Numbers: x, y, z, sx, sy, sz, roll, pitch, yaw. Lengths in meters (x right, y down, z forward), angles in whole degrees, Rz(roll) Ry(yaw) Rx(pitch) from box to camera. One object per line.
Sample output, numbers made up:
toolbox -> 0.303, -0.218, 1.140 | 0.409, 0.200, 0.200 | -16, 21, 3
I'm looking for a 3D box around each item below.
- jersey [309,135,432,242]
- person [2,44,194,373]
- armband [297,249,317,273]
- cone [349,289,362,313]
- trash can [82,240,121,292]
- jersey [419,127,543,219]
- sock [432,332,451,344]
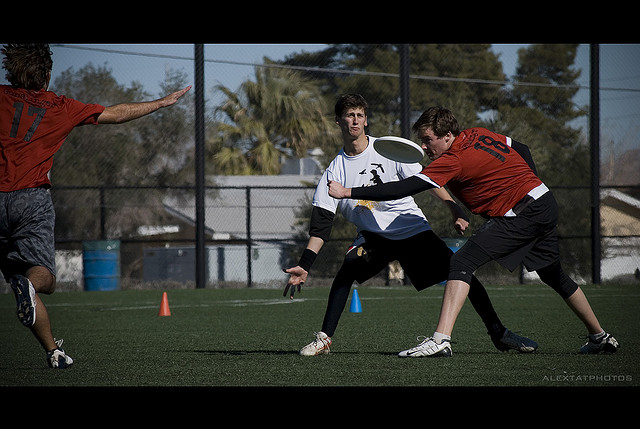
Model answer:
jersey -> 0.673, -0.193, 8.859 | 1.588, 1.107, 0.585 | -4, -3, -7
person -> -2.506, -0.063, 8.252 | 1.056, 3.111, 0.572 | -2, 2, -41
armband -> -0.138, 0.461, 8.644 | 0.184, 0.205, 0.297 | -1, 1, -1
cone -> 0.499, 1.275, 12.244 | 0.215, 0.323, 0.236 | 0, -2, 0
trash can -> -4.387, 1.111, 17.332 | 0.793, 1.138, 0.730 | 0, -6, -35
jersey -> 1.548, -0.418, 8.297 | 0.966, 0.995, 0.425 | 8, -30, 5
sock -> 1.158, 1.191, 8.289 | 0.189, 0.084, 0.068 | 17, -44, -7
